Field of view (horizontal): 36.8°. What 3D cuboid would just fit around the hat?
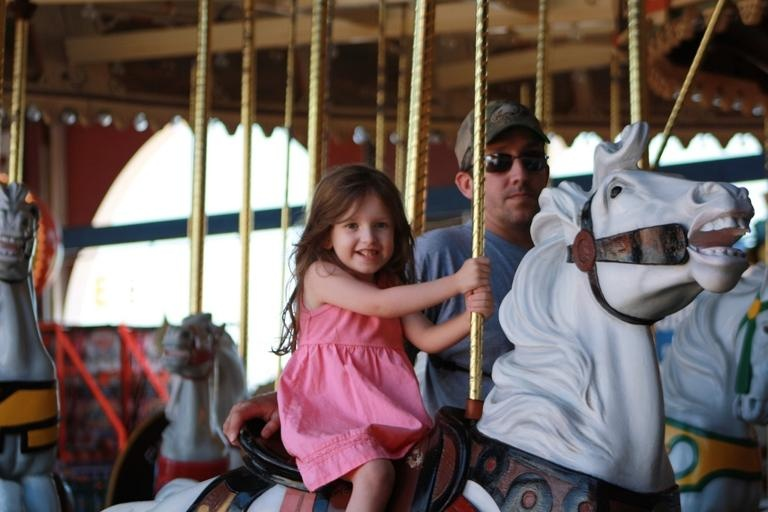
[{"bbox_3d":[0.734,-0.750,7.745,0.402,0.317,0.574,0,-17,-18],"label":"hat"}]
